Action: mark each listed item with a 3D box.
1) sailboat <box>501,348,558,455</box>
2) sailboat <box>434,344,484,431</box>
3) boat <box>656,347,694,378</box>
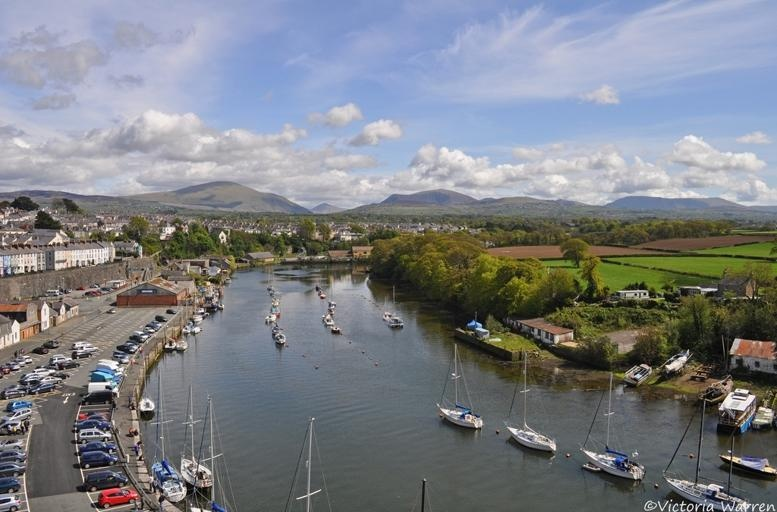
[{"bbox_3d":[14.557,15.118,54.356,2.346,9.057,7.500,-2,-4,-27],"label":"sailboat"},{"bbox_3d":[7.596,13.903,58.511,2.328,8.998,6.862,-1,-2,-39],"label":"sailboat"},{"bbox_3d":[37.987,13.940,69.260,2.054,2.226,7.848,15,23,36],"label":"boat"}]
